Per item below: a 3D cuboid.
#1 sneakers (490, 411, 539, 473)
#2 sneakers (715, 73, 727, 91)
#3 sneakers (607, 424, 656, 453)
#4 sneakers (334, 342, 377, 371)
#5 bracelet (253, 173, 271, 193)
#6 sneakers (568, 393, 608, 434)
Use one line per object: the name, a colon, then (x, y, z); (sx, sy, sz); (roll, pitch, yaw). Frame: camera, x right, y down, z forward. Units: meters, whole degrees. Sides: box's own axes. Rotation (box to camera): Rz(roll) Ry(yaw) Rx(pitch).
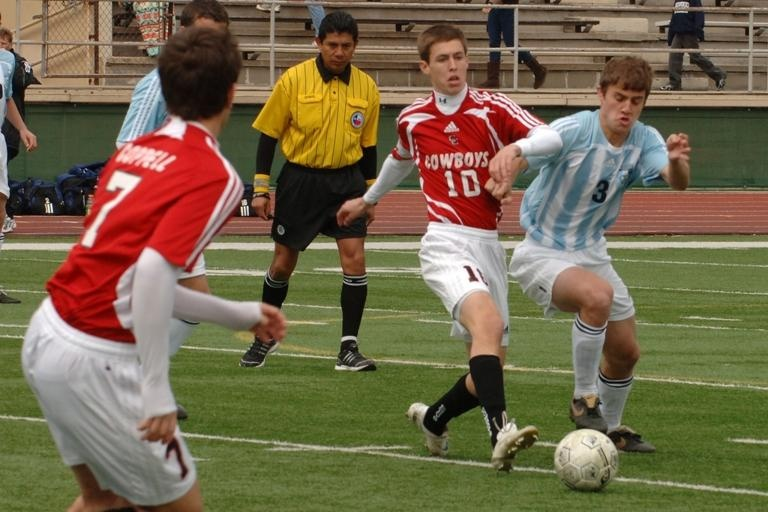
sneakers: (0.808, 1.172, 7.939); (0.174, 0.250, 0.470); (-18, -22, -29)
sneakers: (6.458, -3.348, 23.621); (0.147, 0.402, 0.193); (17, 21, 9)
sneakers: (1.767, 1.333, 8.844); (0.375, 0.138, 0.143); (20, 18, 23)
sneakers: (-0.269, 0.882, 10.591); (0.178, 0.198, 0.432); (1, -2, -37)
bracelet: (-1.090, -0.640, 10.977); (0.174, 0.147, 0.164); (0, 0, -4)
sneakers: (1.472, 1.109, 8.814); (0.201, 0.211, 0.525); (1, 19, -6)
